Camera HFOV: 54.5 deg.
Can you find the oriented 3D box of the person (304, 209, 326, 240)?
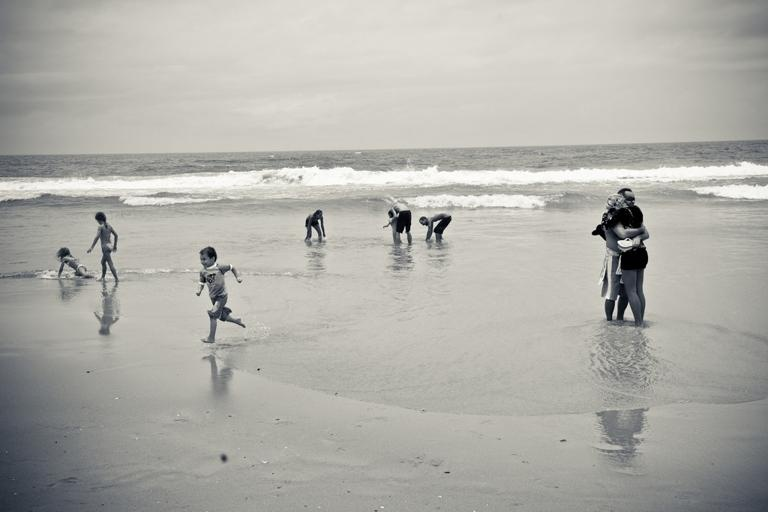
[{"bbox_3d":[-2.213,-1.026,23.809,0.633,0.986,1.773,-2,14,-3],"label":"person"}]

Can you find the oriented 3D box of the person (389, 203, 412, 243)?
[{"bbox_3d":[0.508,-1.036,23.427,0.613,1.205,1.574,4,-5,-22],"label":"person"}]

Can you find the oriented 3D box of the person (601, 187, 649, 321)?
[{"bbox_3d":[4.475,0.026,13.965,0.821,2.497,0.589,3,16,15],"label":"person"}]

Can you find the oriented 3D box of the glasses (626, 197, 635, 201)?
[{"bbox_3d":[4.595,-1.038,13.926,0.097,0.088,0.105,-9,15,13],"label":"glasses"}]

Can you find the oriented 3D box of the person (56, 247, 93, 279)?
[{"bbox_3d":[-7.963,0.212,19.165,0.860,0.477,0.282,33,41,11],"label":"person"}]

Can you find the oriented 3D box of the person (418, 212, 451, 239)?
[{"bbox_3d":[1.637,-0.885,23.258,0.775,0.864,1.697,2,14,10],"label":"person"}]
